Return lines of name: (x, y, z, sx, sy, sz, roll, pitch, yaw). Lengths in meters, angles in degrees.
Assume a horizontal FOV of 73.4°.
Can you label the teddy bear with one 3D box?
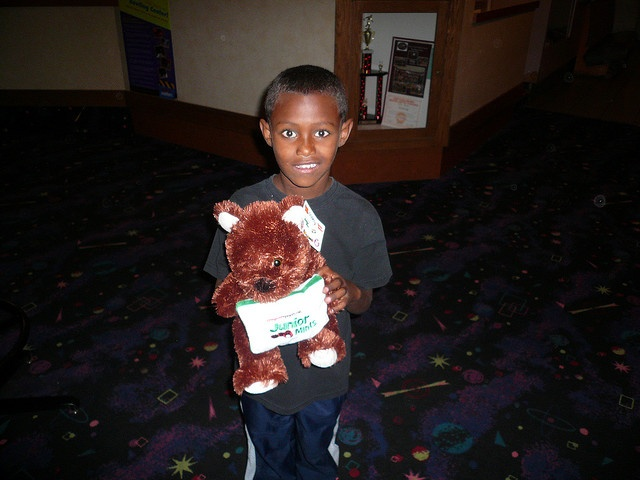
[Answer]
teddy bear: (-0.188, 0.316, 1.927, 0.539, 1.003, 0.427, -13, 31, -15)
